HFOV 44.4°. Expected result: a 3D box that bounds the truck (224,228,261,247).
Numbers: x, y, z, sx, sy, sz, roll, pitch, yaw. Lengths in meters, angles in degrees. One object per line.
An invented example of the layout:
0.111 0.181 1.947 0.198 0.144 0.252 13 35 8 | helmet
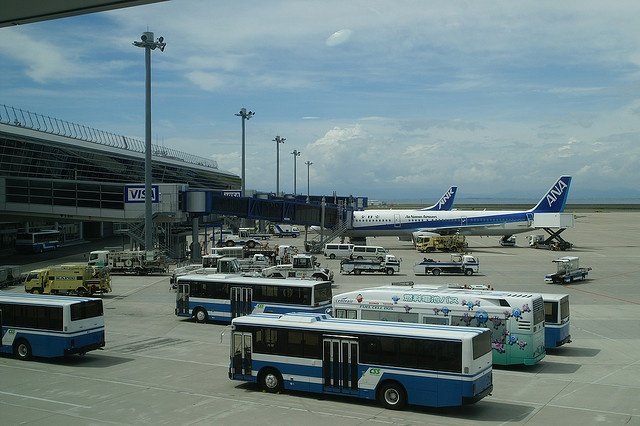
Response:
-10.455 3.771 107.436 4.802 2.163 2.582 -1 0 2 | truck

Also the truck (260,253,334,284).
-1.917 5.471 74.726 6.511 2.588 3.298 0 3 15 | truck

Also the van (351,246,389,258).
5.455 4.423 86.008 3.011 1.040 1.555 -1 1 7 | van

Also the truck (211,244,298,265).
-6.506 5.140 84.521 9.857 2.341 2.949 0 1 0 | truck

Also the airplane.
18.950 0.043 112.788 29.674 10.389 17.440 0 10 -1 | airplane

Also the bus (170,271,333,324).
-5.059 6.681 61.116 13.396 3.465 4.444 1 0 19 | bus

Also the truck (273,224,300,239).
-5.820 3.238 136.344 4.301 2.144 5.731 -1 10 -6 | truck

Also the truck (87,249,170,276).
-20.305 5.549 82.372 8.840 2.655 2.960 1 -1 1 | truck

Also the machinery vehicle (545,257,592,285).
24.429 5.616 76.331 2.020 2.612 5.468 10 14 41 | machinery vehicle

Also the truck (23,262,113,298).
-21.522 5.893 67.706 7.294 2.359 2.510 -2 -3 4 | truck

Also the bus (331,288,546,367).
8.014 7.981 53.570 14.384 4.675 5.147 -1 3 29 | bus

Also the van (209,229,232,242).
-14.374 3.450 112.617 3.900 1.678 2.060 3 5 6 | van

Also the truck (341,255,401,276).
5.335 5.610 81.716 6.166 1.852 2.364 -1 2 2 | truck

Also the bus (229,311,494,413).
2.325 9.050 49.396 18.166 4.939 5.254 -1 -3 33 | bus

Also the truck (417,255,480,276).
13.348 5.550 81.160 6.769 2.046 2.439 -1 1 -1 | truck

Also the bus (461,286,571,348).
12.423 7.606 56.195 10.253 3.782 3.506 1 3 24 | bus

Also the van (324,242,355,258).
2.343 4.621 93.454 2.959 1.136 1.690 -1 3 7 | van

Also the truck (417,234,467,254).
16.149 4.093 102.592 6.536 2.023 2.609 0 1 1 | truck
